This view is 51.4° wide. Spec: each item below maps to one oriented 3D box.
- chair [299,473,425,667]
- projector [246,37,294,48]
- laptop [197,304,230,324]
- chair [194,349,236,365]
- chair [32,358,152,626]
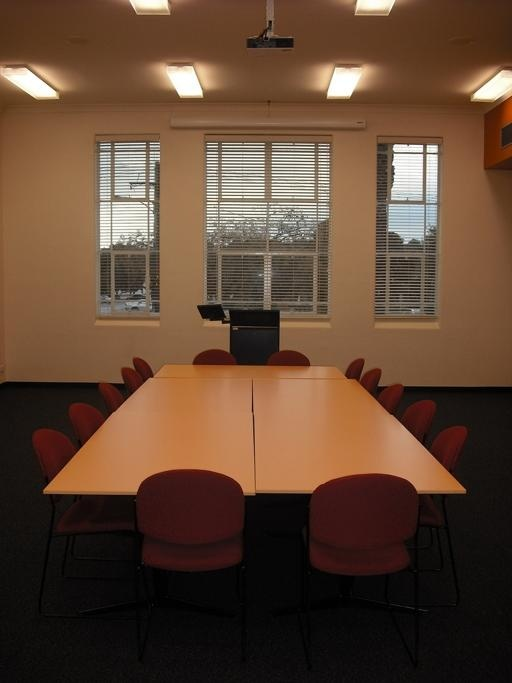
[{"bbox_3d":[0.458,0.856,2.262,0.534,0.800,0.516,1,7,4],"label":"chair"},{"bbox_3d":[0.090,-1.972,3.502,0.299,0.092,0.095,0,8,-1],"label":"projector"},{"bbox_3d":[-0.417,-0.271,5.190,0.240,0.193,0.277,2,8,12],"label":"laptop"},{"bbox_3d":[-0.395,0.141,4.926,0.375,0.126,0.104,0,7,-1],"label":"chair"},{"bbox_3d":[-0.904,0.822,2.895,0.298,0.635,0.920,0,5,-3],"label":"chair"}]
